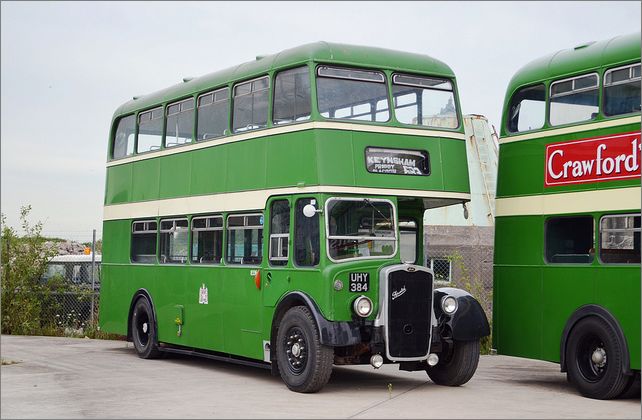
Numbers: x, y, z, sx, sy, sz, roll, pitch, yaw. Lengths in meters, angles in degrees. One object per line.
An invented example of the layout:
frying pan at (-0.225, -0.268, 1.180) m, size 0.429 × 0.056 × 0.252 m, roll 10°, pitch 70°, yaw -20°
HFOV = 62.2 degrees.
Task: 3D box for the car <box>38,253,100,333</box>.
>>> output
car at (-9.278, 2.896, 19.464) m, size 1.892 × 2.721 × 2.723 m, roll -7°, pitch 10°, yaw -30°
